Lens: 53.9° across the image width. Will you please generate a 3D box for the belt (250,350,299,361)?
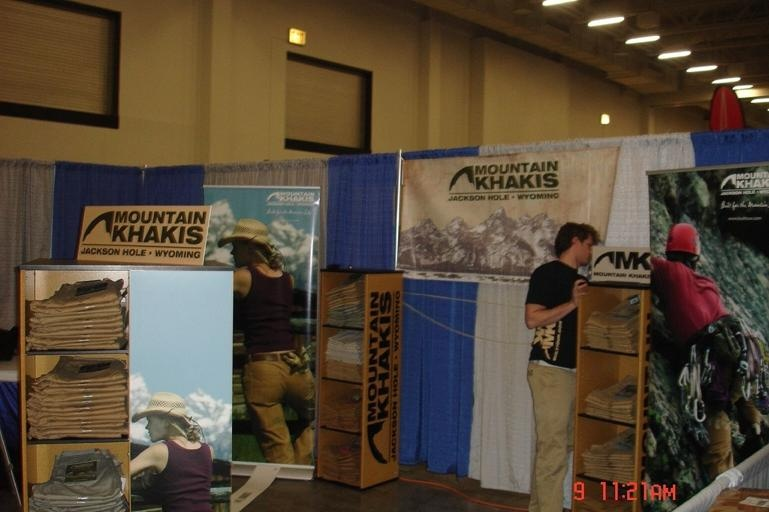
[{"bbox_3d":[-0.985,0.895,6.776,0.423,0.093,0.039,0,4,-7],"label":"belt"}]
